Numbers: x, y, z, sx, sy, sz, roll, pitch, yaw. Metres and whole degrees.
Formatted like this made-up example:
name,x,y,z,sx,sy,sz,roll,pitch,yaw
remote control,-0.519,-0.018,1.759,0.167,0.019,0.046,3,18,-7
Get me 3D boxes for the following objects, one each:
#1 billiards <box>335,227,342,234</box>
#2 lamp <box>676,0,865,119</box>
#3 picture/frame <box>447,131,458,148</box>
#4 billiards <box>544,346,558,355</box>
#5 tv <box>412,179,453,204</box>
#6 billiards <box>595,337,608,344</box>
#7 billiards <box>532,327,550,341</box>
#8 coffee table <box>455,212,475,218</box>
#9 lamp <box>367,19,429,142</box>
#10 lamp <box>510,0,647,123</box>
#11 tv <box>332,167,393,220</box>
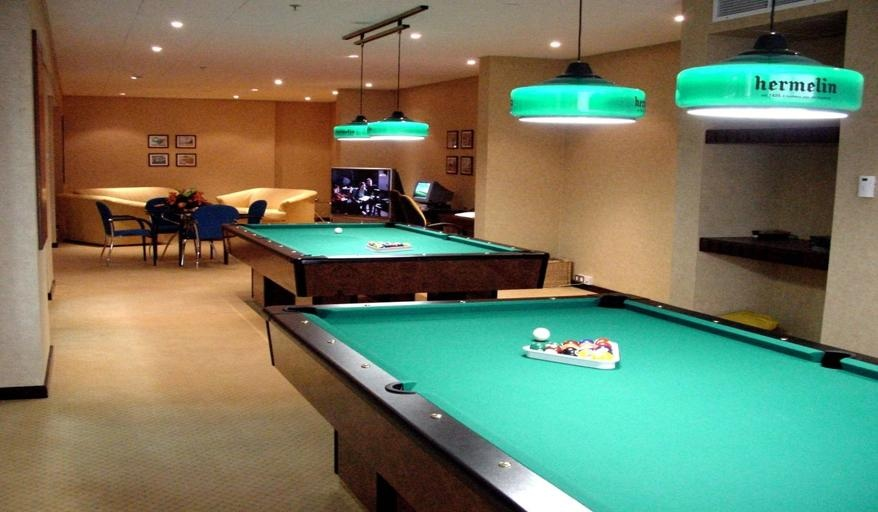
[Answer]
name,x,y,z,sx,sy,sz,roll,pitch,yaw
billiards,-1.135,-0.283,6.732,0.100,0.058,0.086,3,1,-1
lamp,1.547,-0.908,2.983,0.648,0.362,0.565,1,4,5
picture/frame,0.235,-2.060,10.644,0.061,0.312,0.425,1,0,-25
billiards,0.562,0.471,3.014,0.060,0.026,0.069,0,7,11
tv,-0.100,-1.097,10.591,0.576,0.342,0.550,-7,7,-28
billiards,0.827,0.427,3.065,0.046,0.018,0.058,2,2,18
billiards,0.558,0.421,3.243,0.085,0.036,0.075,2,8,13
coffee table,0.387,-0.631,9.384,0.274,0.070,0.785,-1,7,0
lamp,-0.445,-1.815,6.476,0.792,1.004,0.680,5,14,15
lamp,0.821,-1.022,3.528,0.580,0.499,0.525,3,4,21
tv,-1.529,-1.225,11.711,1.556,1.001,0.227,4,11,38
